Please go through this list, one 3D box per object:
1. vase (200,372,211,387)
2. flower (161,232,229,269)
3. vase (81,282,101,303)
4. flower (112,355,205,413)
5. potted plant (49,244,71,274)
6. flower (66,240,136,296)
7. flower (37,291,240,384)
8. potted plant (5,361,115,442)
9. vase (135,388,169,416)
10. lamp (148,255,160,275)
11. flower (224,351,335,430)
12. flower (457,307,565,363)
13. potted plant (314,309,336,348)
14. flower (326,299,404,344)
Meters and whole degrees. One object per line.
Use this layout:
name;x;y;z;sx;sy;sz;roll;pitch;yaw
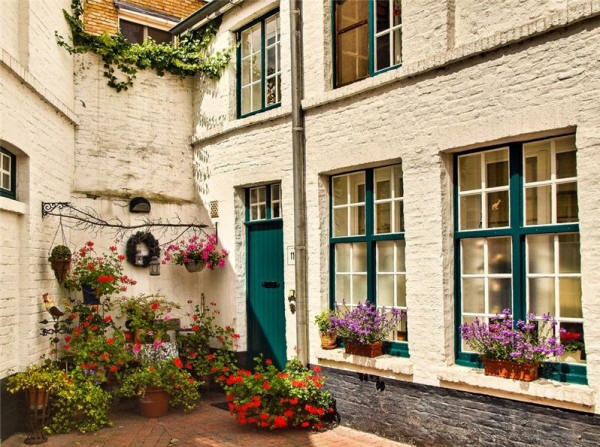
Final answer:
vase;-1.481;2.460;10.043;0.190;0.210;0.197;-2;-7;24
flower;-1.719;0.420;10.557;1.127;0.606;0.598;2;-9;1
vase;-3.071;1.021;9.339;0.289;0.252;0.278;-1;-5;24
flower;-2.090;2.123;9.066;0.918;0.624;0.630;-21;3;-17
potted plant;-3.317;0.485;8.811;0.342;0.462;0.362;0;2;-25
flower;-3.042;0.712;9.558;0.819;0.657;0.759;8;-4;-26
flower;-2.389;1.692;9.728;2.727;1.116;1.244;0;-3;-33
potted plant;-3.180;2.328;8.460;1.086;0.787;0.886;6;-18;-27
vase;-2.076;2.465;8.900;0.391;0.310;0.398;0;-5;-7
lamp;-2.369;0.684;10.395;0.175;0.299;0.309;4;-9;-14
flower;-0.221;2.247;8.583;1.065;0.795;1.058;1;-9;22
flower;2.351;1.277;7.145;0.796;0.456;0.581;-5;-6;44
potted plant;0.362;1.443;8.769;0.252;0.494;0.328;1;0;3
flower;0.821;1.311;8.434;0.768;0.478;0.567;2;-8;-9
